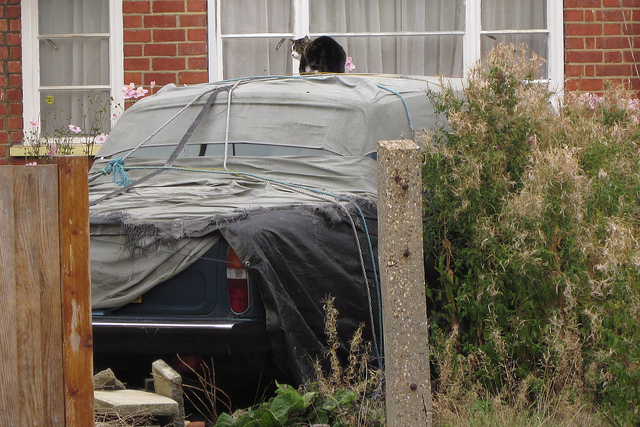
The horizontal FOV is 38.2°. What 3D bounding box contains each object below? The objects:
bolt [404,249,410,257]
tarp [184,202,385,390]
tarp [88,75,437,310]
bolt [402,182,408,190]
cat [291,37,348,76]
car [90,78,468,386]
[{"bbox_3d":[0.578,0.263,6.234,0.029,0.041,0.023,2,0,-5],"label":"bolt"},{"bbox_3d":[-0.073,0.593,6.906,1.349,1.332,0.375,-2,1,-30],"label":"tarp"},{"bbox_3d":[-0.369,-0.136,7.305,1.671,1.791,4.292,0,8,15],"label":"tarp"},{"bbox_3d":[0.576,-0.187,6.239,0.039,0.042,0.011,-3,5,-11],"label":"bolt"},{"bbox_3d":[-0.083,-1.626,9.485,0.270,0.432,0.930,-5,13,-37],"label":"cat"},{"bbox_3d":[-0.329,-0.111,7.729,1.933,1.454,3.232,5,9,33],"label":"car"}]
